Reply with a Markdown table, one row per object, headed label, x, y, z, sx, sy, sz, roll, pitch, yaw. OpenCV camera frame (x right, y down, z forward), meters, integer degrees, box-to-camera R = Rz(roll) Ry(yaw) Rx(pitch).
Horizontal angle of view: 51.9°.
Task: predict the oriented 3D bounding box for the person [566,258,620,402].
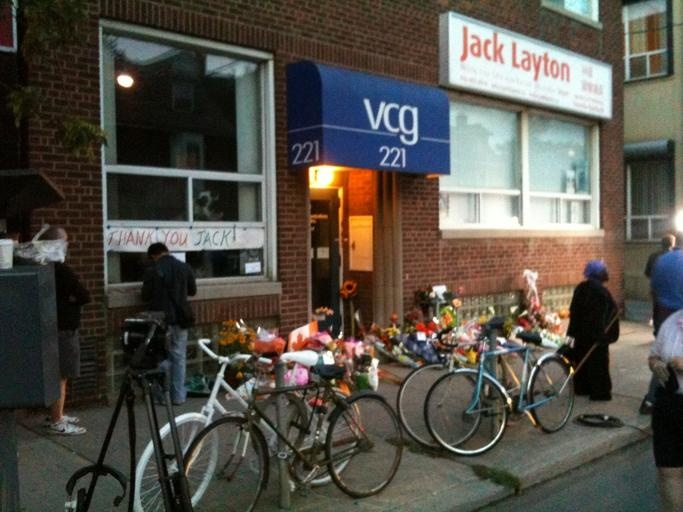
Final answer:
| label | x | y | z | sx | sy | sz | roll | pitch | yaw |
| --- | --- | --- | --- | --- | --- | --- | --- | --- | --- |
| person | 3.381 | 1.048 | 9.463 | 0.638 | 1.881 | 0.593 | 6 | 13 | 23 |

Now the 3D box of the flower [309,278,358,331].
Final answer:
| label | x | y | z | sx | sy | sz | roll | pitch | yaw |
| --- | --- | --- | --- | --- | --- | --- | --- | --- | --- |
| flower | -0.159 | 0.808 | 12.057 | 0.849 | 1.055 | 0.337 | 2 | -2 | -43 |

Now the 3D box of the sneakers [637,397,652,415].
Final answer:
| label | x | y | z | sx | sy | sz | roll | pitch | yaw |
| --- | --- | --- | --- | --- | --- | --- | --- | --- | --- |
| sneakers | 3.936 | 1.936 | 9.075 | 0.179 | 0.204 | 0.109 | -6 | 6 | -35 |

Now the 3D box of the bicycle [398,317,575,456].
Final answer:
| label | x | y | z | sx | sy | sz | roll | pitch | yaw |
| --- | --- | --- | --- | --- | --- | --- | --- | --- | --- |
| bicycle | 1.728 | 1.487 | 8.189 | 2.207 | 1.454 | 0.901 | -9 | 16 | -37 |

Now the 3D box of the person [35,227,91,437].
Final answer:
| label | x | y | z | sx | sy | sz | roll | pitch | yaw |
| --- | --- | --- | --- | --- | --- | --- | --- | --- | --- |
| person | -3.244 | 0.877 | 8.286 | 0.576 | 2.326 | 0.966 | -4 | 13 | -23 |

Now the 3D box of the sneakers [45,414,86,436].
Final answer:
| label | x | y | z | sx | sy | sz | roll | pitch | yaw |
| --- | --- | --- | --- | --- | --- | --- | --- | --- | --- |
| sneakers | -3.271 | 1.971 | 8.201 | 0.553 | 0.272 | 0.216 | 3 | 6 | -15 |

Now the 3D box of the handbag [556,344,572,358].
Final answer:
| label | x | y | z | sx | sy | sz | roll | pitch | yaw |
| --- | --- | --- | --- | --- | --- | --- | --- | --- | --- |
| handbag | 2.903 | 1.235 | 9.145 | 0.155 | 0.153 | 0.170 | 7 | -40 | -28 |
